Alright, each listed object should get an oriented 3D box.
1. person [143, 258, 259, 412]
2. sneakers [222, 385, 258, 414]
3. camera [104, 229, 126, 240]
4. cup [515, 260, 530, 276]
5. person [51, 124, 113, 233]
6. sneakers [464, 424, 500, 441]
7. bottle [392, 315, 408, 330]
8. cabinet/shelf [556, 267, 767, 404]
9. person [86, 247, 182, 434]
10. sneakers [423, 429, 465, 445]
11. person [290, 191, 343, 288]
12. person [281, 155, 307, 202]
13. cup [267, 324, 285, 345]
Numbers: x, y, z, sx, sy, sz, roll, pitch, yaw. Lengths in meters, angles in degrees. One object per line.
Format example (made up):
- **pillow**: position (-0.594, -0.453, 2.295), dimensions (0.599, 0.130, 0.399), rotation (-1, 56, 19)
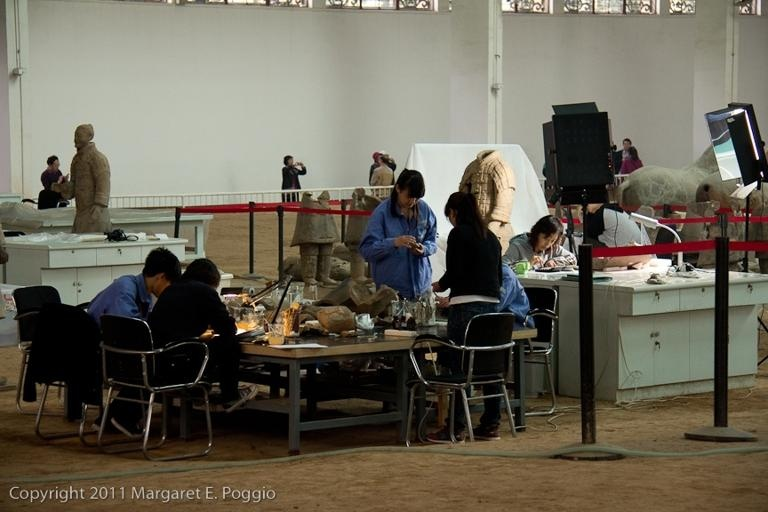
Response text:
- **person**: position (-1.463, 0.561, 6.632), dimensions (1.069, 1.385, 0.776), rotation (-4, 10, -35)
- **sneakers**: position (-1.162, 1.159, 7.004), dimensions (0.211, 0.113, 0.322), rotation (-2, 14, 23)
- **camera**: position (-3.439, -0.255, 10.765), dimensions (0.219, 0.111, 0.165), rotation (5, 7, 44)
- **cup**: position (1.354, 0.121, 8.280), dimensions (0.159, 0.156, 0.123), rotation (0, 0, -28)
- **person**: position (-3.884, -0.777, 11.032), dimensions (0.727, 1.783, 0.621), rotation (7, 7, 30)
- **sneakers**: position (0.787, 1.425, 6.796), dimensions (0.287, 0.115, 0.109), rotation (2, 3, 33)
- **bottle**: position (0.129, 0.537, 6.794), dimensions (0.100, 0.100, 0.101), rotation (1, 2, 1)
- **cabinet/shelf**: position (2.744, 0.786, 8.154), dimensions (2.026, 1.211, 0.666), rotation (-4, 9, -15)
- **person**: position (-2.006, 0.590, 6.939), dimensions (0.769, 1.286, 0.520), rotation (10, 10, 0)
- **sneakers**: position (0.483, 1.444, 6.754), dimensions (0.316, 0.137, 0.116), rotation (4, -9, 7)
- **person**: position (-1.111, -0.245, 13.738), dimensions (0.750, 1.564, 1.035), rotation (-2, 8, -4)
- **person**: position (-2.351, -2.011, 21.983), dimensions (0.636, 1.156, 2.858), rotation (-2, 8, -6)
- **cup**: position (-0.816, 0.597, 6.411), dimensions (0.120, 0.132, 0.160), rotation (-2, 8, -6)
